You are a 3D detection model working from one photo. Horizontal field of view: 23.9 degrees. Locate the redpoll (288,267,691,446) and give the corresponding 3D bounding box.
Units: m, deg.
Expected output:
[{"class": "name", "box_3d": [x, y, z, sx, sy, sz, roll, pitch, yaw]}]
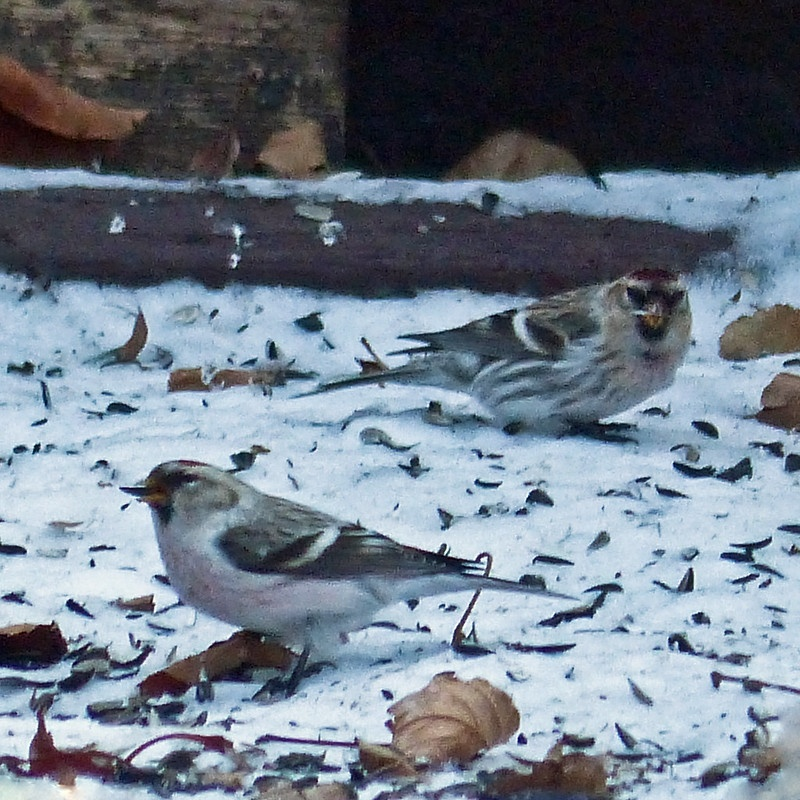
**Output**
[{"class": "redpoll", "box_3d": [0.352, -0.128, 5.427, 1.156, 0.486, 0.377, 3, 4, 34]}]
